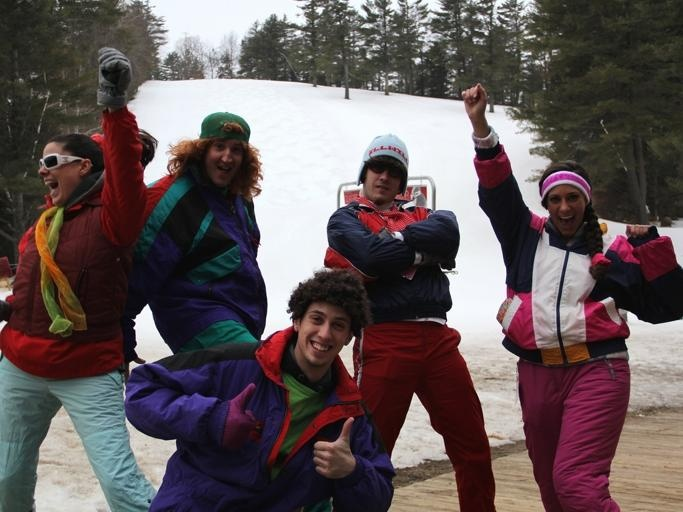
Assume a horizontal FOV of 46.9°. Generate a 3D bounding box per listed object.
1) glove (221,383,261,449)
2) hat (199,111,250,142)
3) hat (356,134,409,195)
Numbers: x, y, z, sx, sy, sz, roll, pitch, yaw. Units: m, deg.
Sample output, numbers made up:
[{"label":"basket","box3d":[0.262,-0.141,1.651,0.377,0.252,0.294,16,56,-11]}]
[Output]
[{"label":"glove","box3d":[-0.502,0.866,4.302,0.195,0.249,0.326,38,19,-24]},{"label":"hat","box3d":[-0.766,-0.853,5.273,0.232,0.156,0.232,9,7,25]},{"label":"hat","box3d":[0.354,-0.663,5.691,0.305,0.410,0.422,17,-23,-1]}]
